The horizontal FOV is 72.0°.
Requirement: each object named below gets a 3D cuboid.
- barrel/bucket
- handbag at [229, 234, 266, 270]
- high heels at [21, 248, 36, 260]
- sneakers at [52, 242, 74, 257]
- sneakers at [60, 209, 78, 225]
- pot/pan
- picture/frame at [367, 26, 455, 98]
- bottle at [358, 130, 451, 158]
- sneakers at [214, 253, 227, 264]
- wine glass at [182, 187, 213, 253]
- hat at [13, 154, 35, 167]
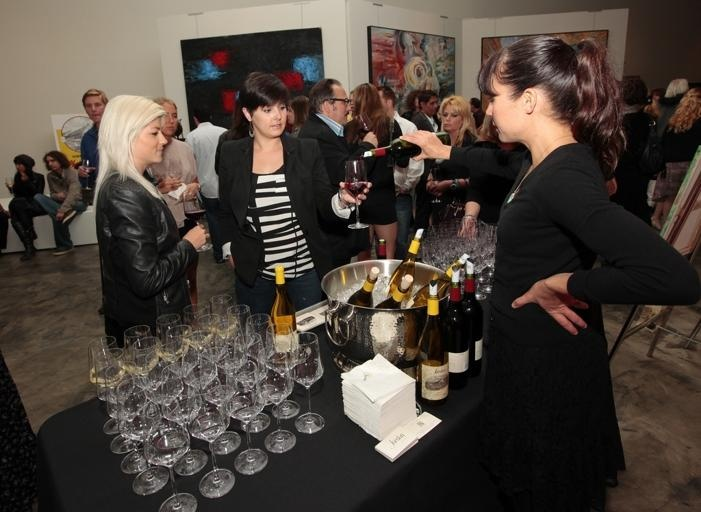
[{"bbox_3d":[0.125,0.322,2.086,0.510,0.420,0.569,-6,0,28],"label":"barrel/bucket"},{"bbox_3d":[-0.605,-0.029,2.830,0.171,0.228,0.054,-8,-2,39],"label":"handbag"},{"bbox_3d":[-4.608,-0.021,6.896,0.173,0.103,0.336,-16,29,-26],"label":"high heels"},{"bbox_3d":[-4.214,-0.118,7.064,0.138,0.158,0.341,1,2,3],"label":"sneakers"},{"bbox_3d":[-4.091,-0.571,7.038,0.108,0.099,0.266,21,32,11],"label":"sneakers"},{"bbox_3d":[0.077,0.215,2.034,0.418,0.331,0.478,-3,9,-3],"label":"pot/pan"},{"bbox_3d":[0.962,-2.845,7.216,1.475,0.949,0.016,-6,20,-20],"label":"picture/frame"},{"bbox_3d":[0.311,-0.691,3.002,0.427,0.108,0.102,-18,23,-22],"label":"bottle"},{"bbox_3d":[-1.429,0.025,5.291,0.141,0.146,0.065,3,36,-1],"label":"sneakers"},{"bbox_3d":[-1.033,-0.262,3.288,0.152,0.408,0.162,14,26,35],"label":"wine glass"},{"bbox_3d":[-4.866,-1.417,7.212,0.209,0.191,0.324,-16,28,-27],"label":"hat"}]
